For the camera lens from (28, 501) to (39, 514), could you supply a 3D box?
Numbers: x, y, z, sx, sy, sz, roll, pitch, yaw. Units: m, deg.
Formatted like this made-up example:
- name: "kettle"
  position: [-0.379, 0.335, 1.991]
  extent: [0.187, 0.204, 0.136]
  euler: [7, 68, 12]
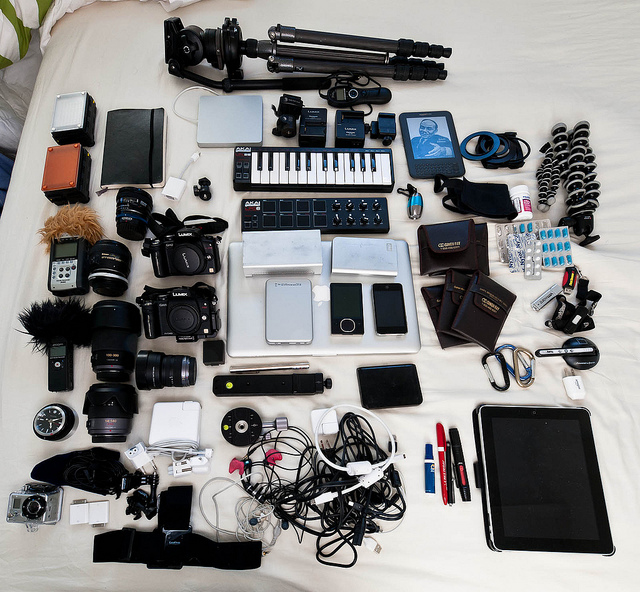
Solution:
- name: "camera lens"
  position: [-1.411, 1.035, 3.146]
  extent: [0.042, 0.046, 0.011]
  euler: [-3, -13, -1]

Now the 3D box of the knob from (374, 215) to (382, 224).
- name: "knob"
  position: [0.332, -0.425, 3.607]
  extent: [0.030, 0.046, 0.011]
  euler: [3, -8, 3]

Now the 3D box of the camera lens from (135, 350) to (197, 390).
- name: "camera lens"
  position: [-0.791, 0.383, 3.342]
  extent: [0.305, 0.222, 0.205]
  euler: [2, 9, -8]

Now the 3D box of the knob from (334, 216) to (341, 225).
- name: "knob"
  position: [0.104, -0.420, 3.584]
  extent: [0.028, 0.044, 0.016]
  euler: [-1, -12, -6]

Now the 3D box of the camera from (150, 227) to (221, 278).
- name: "camera"
  position: [-0.716, -0.224, 3.384]
  extent: [0.349, 0.280, 0.185]
  euler: [-7, 14, -12]

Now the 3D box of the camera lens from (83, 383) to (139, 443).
- name: "camera lens"
  position: [-1.065, 0.590, 3.260]
  extent: [0.279, 0.318, 0.191]
  euler: [-9, 14, -19]

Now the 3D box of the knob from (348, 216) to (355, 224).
- name: "knob"
  position: [0.179, -0.426, 3.597]
  extent: [0.036, 0.037, 0.019]
  euler: [-4, 13, 3]

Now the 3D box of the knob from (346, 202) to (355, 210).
- name: "knob"
  position: [0.173, -0.506, 3.620]
  extent: [0.044, 0.038, 0.023]
  euler: [-4, 13, 2]

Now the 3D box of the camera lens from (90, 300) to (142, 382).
- name: "camera lens"
  position: [-1.043, 0.243, 3.281]
  extent: [0.266, 0.442, 0.145]
  euler: [-9, 14, -21]
